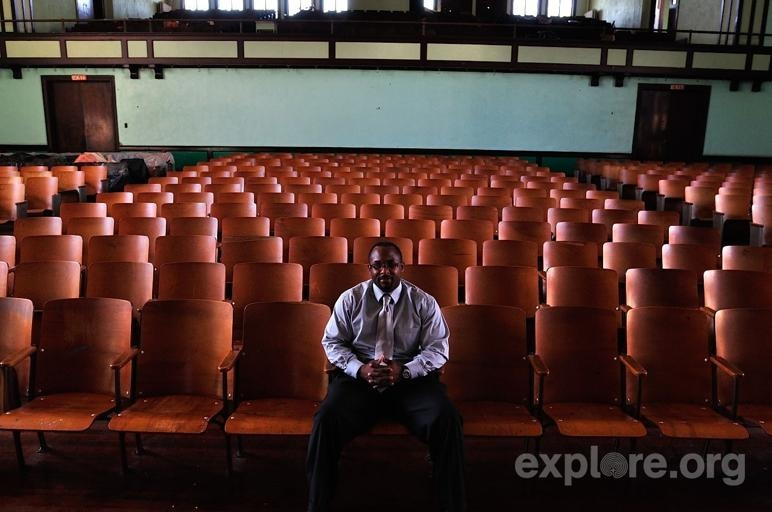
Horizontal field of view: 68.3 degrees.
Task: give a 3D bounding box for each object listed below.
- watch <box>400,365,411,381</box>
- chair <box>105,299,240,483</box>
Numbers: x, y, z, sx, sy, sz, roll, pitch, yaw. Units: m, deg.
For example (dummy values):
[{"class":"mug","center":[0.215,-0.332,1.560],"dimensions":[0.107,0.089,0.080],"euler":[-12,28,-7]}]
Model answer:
[{"class":"watch","center":[0.153,0.936,4.516],"dimensions":[0.092,0.099,0.099],"euler":[0,0,-6]},{"class":"chair","center":[-1.767,1.041,5.165],"dimensions":[1.334,1.679,1.302],"euler":[0,-6,-5]}]
